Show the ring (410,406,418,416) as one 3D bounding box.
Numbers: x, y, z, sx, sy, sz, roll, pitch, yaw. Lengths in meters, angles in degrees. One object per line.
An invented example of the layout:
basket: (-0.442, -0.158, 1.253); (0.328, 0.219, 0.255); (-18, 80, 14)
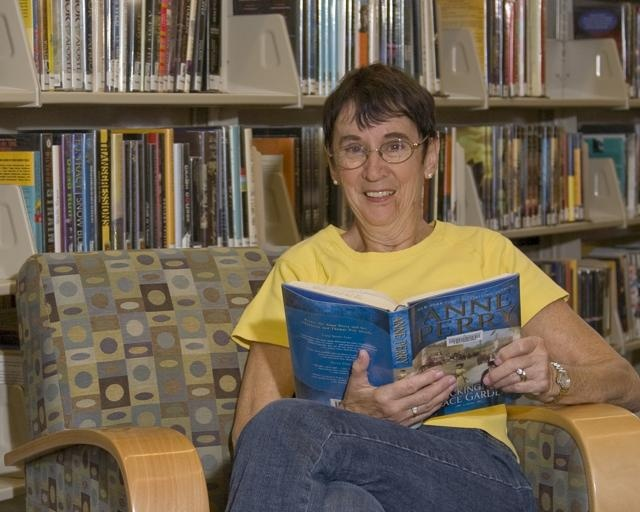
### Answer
ring: (0.173, 0.279, 1.273); (0.013, 0.020, 0.018); (1, -21, -7)

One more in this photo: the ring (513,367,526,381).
ring: (0.369, 0.216, 1.299); (0.018, 0.025, 0.008); (-28, 11, -19)
